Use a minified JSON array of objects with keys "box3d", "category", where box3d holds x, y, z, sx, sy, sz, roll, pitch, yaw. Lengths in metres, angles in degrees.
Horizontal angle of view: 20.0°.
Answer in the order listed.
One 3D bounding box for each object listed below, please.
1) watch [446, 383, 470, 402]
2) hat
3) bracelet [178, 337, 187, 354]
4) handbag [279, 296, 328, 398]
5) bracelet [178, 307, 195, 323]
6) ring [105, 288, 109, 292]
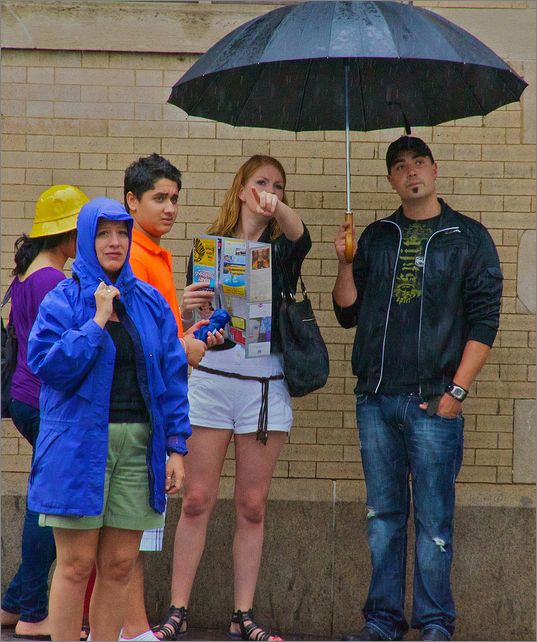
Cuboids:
[{"box3d":[0.965,0.374,7.752,0.109,0.077,0.108,37,2,18],"category":"watch"},{"box3d":[-1.131,-0.583,8.013,0.238,0.199,0.324,-17,12,8],"category":"hat"},{"box3d":[-0.429,0.120,7.518,0.013,0.058,0.053,-24,40,-11],"category":"bracelet"},{"box3d":[0.177,0.142,7.902,0.255,0.504,0.129,1,5,1],"category":"handbag"},{"box3d":[-0.434,-0.032,7.967,0.050,0.069,0.069,1,-11,-3],"category":"bracelet"},{"box3d":[-0.740,-0.143,6.908,0.009,0.015,0.003,-5,-17,-13],"category":"ring"}]
